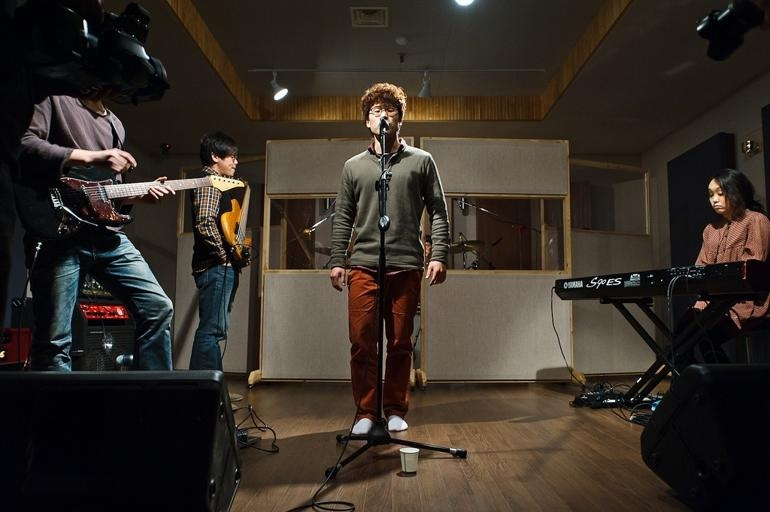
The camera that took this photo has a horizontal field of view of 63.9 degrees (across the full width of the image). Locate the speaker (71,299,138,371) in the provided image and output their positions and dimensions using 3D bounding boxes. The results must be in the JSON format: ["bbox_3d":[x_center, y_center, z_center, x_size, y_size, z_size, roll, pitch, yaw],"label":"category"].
[{"bbox_3d":[-1.847,0.525,4.047,0.312,0.643,0.422,-8,-11,19],"label":"speaker"}]

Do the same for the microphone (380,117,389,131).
[{"bbox_3d":[-0.002,-0.639,2.977,0.033,0.047,0.052,5,-14,-12],"label":"microphone"}]

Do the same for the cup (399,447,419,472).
[{"bbox_3d":[0.118,0.949,2.852,0.079,0.073,0.090,3,-15,-9],"label":"cup"}]

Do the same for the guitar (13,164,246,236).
[{"bbox_3d":[-1.422,-0.238,3.002,0.118,0.299,0.633,1,1,34],"label":"guitar"}]

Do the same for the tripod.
[{"bbox_3d":[0.003,0.236,3.126,0.701,1.509,0.706,0,1,-15],"label":"tripod"}]
